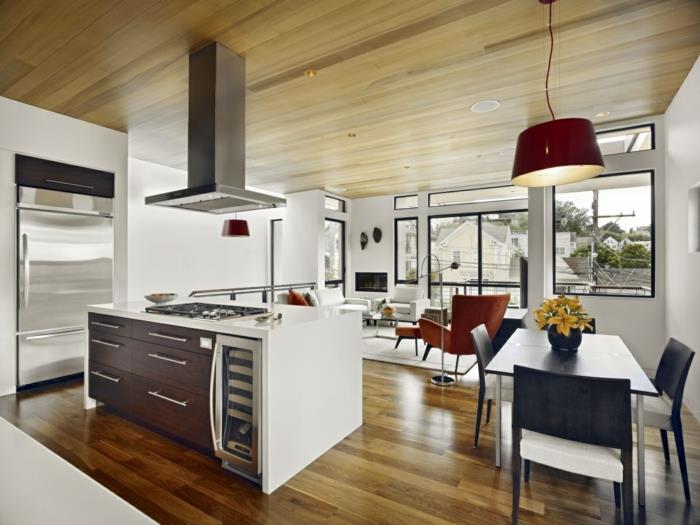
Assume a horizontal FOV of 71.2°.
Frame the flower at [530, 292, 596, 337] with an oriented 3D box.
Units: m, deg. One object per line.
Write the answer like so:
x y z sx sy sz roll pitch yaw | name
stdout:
1.795 0.454 4.274 0.420 0.261 0.422 3 -4 -16 | flower

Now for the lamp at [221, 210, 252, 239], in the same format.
-1.882 -0.651 8.018 0.481 0.508 0.472 -2 -5 15 | lamp

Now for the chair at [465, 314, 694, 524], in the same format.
1.930 1.094 4.212 1.500 1.037 1.499 0 0 29 | chair

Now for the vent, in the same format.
-1.295 -1.306 4.735 1.184 1.406 1.158 4 6 40 | vent

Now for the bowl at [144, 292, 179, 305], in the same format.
-1.978 0.368 5.044 0.243 0.095 0.244 0 -2 0 | bowl

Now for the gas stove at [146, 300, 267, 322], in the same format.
-1.293 0.448 4.565 1.127 0.079 0.761 0 0 26 | gas stove

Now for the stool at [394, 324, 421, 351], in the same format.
0.863 1.034 7.166 0.438 0.339 0.433 0 0 27 | stool

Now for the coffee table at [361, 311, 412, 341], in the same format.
0.541 1.110 8.347 0.581 0.279 0.579 0 0 37 | coffee table

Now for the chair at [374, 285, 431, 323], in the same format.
0.913 0.729 8.792 0.805 0.717 0.760 -2 -5 30 | chair
